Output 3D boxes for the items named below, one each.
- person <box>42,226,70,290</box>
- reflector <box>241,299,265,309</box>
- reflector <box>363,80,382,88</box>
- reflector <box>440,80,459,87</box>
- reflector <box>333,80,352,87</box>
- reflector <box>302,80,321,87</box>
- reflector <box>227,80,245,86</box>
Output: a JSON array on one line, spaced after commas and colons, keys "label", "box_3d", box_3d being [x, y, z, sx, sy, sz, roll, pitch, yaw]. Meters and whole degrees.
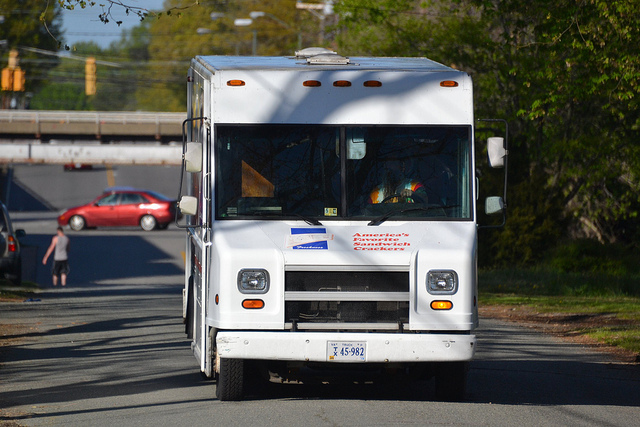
[{"label": "person", "box_3d": [-8.226, 1.425, 35.206, 0.976, 2.487, 1.145, 1, -2, -19]}, {"label": "reflector", "box_3d": [-1.163, 1.594, 19.304, 0.378, 0.137, 0.016, 2, 1, -1]}, {"label": "reflector", "box_3d": [0.929, -2.326, 20.026, 0.324, 0.118, 0.037, 2, 1, -5]}, {"label": "reflector", "box_3d": [2.302, -2.333, 20.043, 0.336, 0.113, 0.023, 2, 1, 1]}, {"label": "reflector", "box_3d": [0.376, -2.332, 20.033, 0.314, 0.108, 0.040, 2, 1, -5]}, {"label": "reflector", "box_3d": [-0.166, -2.327, 19.992, 0.324, 0.107, 0.028, 2, 1, -3]}, {"label": "reflector", "box_3d": [-1.507, -2.324, 19.867, 0.300, 0.085, 0.027, 2, 1, -9]}]
